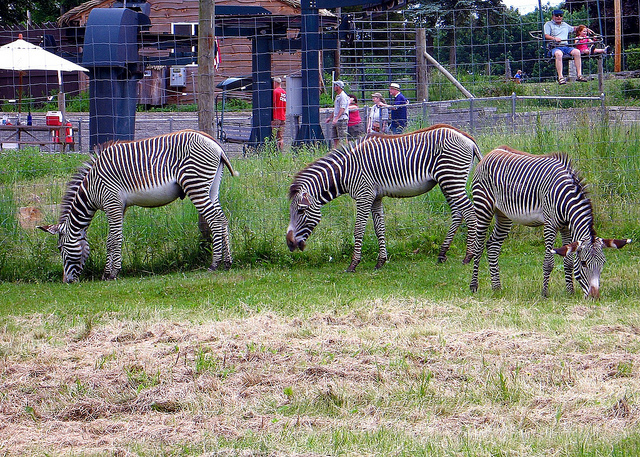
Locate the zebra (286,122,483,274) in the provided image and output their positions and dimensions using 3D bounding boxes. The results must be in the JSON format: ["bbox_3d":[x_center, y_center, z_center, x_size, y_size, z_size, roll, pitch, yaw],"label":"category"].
[{"bbox_3d":[1.270,-0.597,21.105,3.547,2.772,0.948,1,4,8],"label":"zebra"}]

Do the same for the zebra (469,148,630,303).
[{"bbox_3d":[3.995,-0.139,19.597,2.594,2.590,2.541,1,5,10],"label":"zebra"}]

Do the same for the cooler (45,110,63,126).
[{"bbox_3d":[-7.754,-3.206,31.681,0.381,0.394,1.083,-1,6,-17],"label":"cooler"}]
